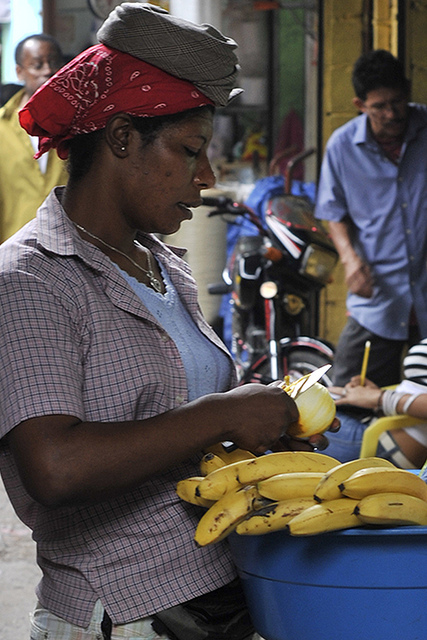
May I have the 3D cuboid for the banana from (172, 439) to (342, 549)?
[{"bbox_3d":[0.073,0.285,1.242,0.188,0.100,0.303,33,-11,-23],"label":"banana"}]

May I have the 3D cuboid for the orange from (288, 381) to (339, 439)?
[{"bbox_3d":[0.207,0.167,1.425,0.106,0.101,0.095,9,15,21],"label":"orange"}]

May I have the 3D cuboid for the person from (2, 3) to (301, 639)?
[{"bbox_3d":[-0.117,0.032,1.412,0.566,1.269,0.609,-1,12,3],"label":"person"}]

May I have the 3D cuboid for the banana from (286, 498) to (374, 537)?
[{"bbox_3d":[0.169,0.286,1.057,0.167,0.042,0.042,-1,17,-30],"label":"banana"}]

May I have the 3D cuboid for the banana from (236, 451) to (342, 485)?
[{"bbox_3d":[0.115,0.236,1.249,0.189,0.058,0.104,-3,6,-32],"label":"banana"}]

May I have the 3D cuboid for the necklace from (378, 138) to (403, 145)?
[{"bbox_3d":[0.400,-0.399,1.629,0.052,0.010,0.006,7,14,39],"label":"necklace"}]
